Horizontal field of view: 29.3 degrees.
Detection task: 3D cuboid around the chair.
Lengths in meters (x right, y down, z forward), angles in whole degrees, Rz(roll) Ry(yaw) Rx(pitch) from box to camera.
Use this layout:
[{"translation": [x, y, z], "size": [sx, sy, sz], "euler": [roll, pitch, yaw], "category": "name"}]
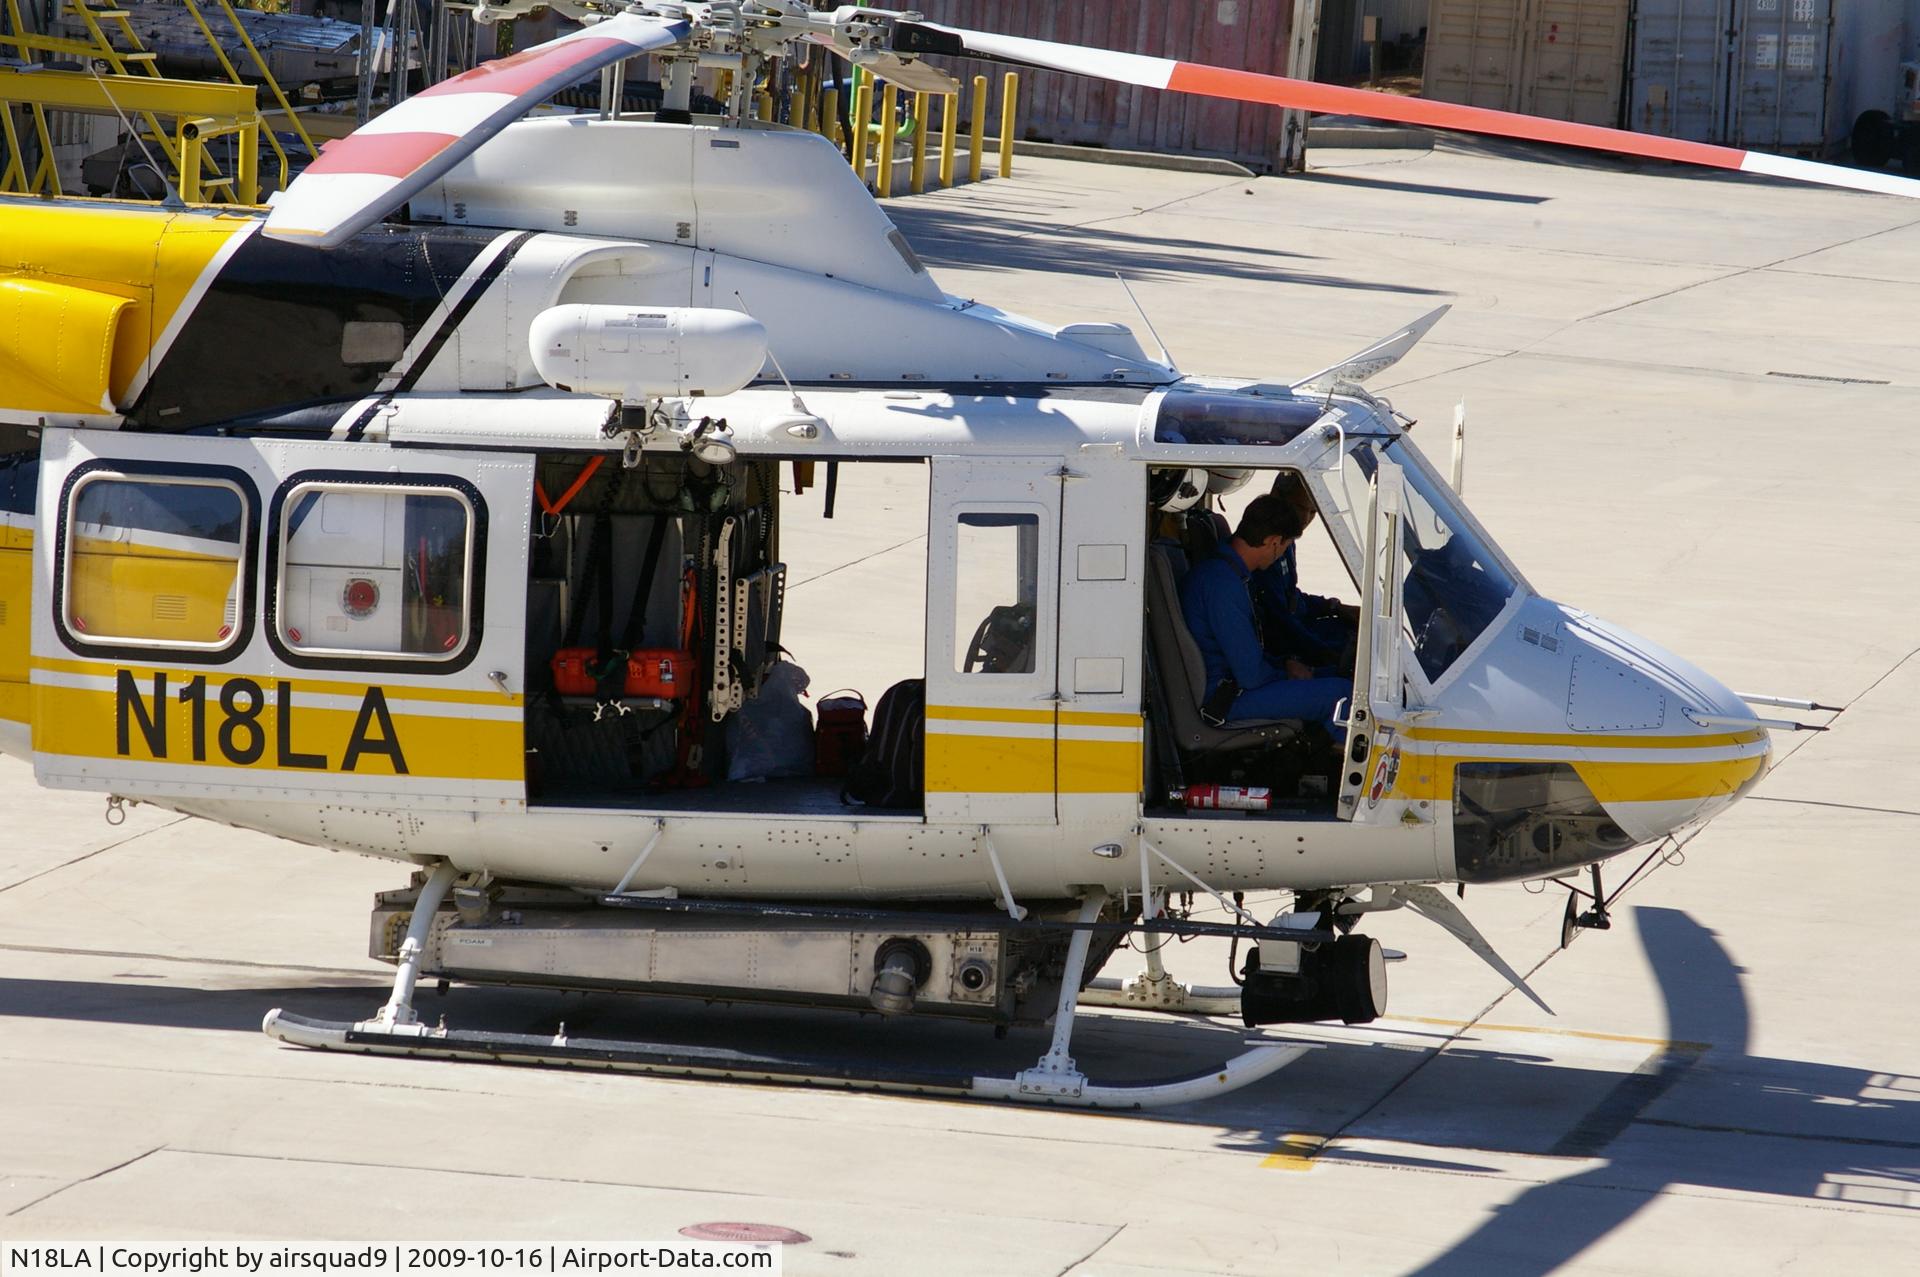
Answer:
[{"translation": [1.602, -0.041, 23.519], "size": [0.781, 1.563, 0.924], "euler": [-2, 10, -31], "category": "chair"}]
